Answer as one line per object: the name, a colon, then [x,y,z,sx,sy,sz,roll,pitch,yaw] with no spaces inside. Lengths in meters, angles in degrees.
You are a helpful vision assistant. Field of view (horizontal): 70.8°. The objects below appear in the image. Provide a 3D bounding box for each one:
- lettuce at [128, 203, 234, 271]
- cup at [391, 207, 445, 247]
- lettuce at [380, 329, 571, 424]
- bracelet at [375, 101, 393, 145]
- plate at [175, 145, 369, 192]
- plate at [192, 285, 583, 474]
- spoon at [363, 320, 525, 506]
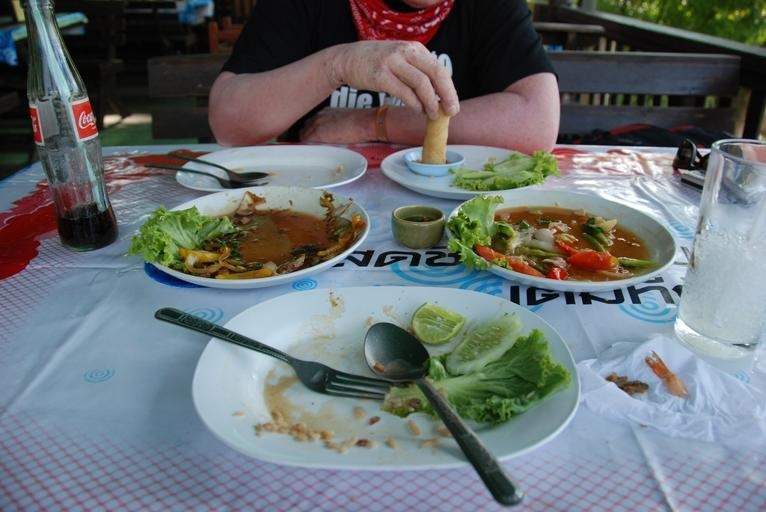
lettuce: [-0.514,-0.083,1.457,0.263,0.080,0.224,8,-11,-38]
cup: [0.093,-0.088,1.544,0.132,0.076,0.126,1,25,0]
lettuce: [0.188,0.246,1.049,0.318,0.073,0.175,-8,38,4]
bracelet: [0.006,-0.560,2.265,0.041,0.124,0.097,-5,30,-1]
plate: [-0.379,-0.345,2.029,0.429,0.043,0.312,-1,31,0]
plate: [-0.013,0.214,1.042,0.549,0.060,0.375,0,35,-1]
spoon: [0.094,0.297,1.044,0.133,0.077,0.549,-15,31,-12]
